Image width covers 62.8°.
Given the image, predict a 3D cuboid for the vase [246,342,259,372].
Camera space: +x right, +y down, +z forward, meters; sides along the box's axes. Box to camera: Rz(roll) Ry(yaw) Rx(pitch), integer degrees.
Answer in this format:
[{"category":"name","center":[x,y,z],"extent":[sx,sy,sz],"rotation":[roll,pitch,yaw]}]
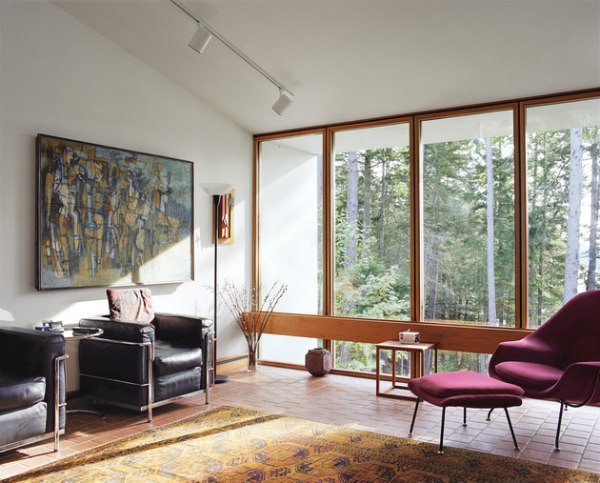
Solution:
[{"category":"vase","center":[-0.584,1.398,6.080],"extent":[0.122,0.316,0.348],"rotation":[0,0,-6]}]

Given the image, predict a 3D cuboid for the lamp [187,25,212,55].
[{"category":"lamp","center":[-0.867,-1.755,4.339],"extent":[0.238,0.225,0.058],"rotation":[32,5,4]}]

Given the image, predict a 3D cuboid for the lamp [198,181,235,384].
[{"category":"lamp","center":[-1.000,0.299,5.720],"extent":[0.413,1.938,0.394],"rotation":[6,28,1]}]

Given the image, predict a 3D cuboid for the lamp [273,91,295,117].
[{"category":"lamp","center":[-0.177,-1.530,5.404],"extent":[0.175,0.313,0.170],"rotation":[41,2,-9]}]
